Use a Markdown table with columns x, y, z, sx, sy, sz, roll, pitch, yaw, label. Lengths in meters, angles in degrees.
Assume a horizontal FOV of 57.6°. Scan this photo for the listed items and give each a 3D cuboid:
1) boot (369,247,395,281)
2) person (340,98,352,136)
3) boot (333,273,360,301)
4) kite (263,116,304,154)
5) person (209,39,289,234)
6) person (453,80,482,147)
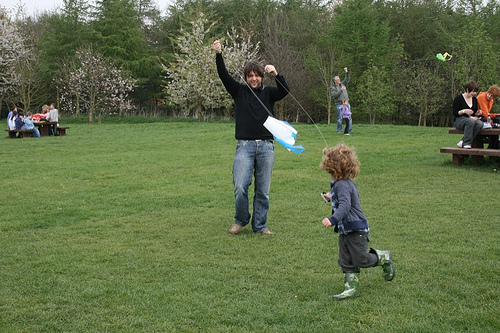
| x | y | z | sx | sy | sz | roll | pitch | yaw | label |
| --- | --- | --- | --- | --- | --- | --- | --- | --- | --- |
| 1.806 | 1.342 | 6.218 | 0.390 | 0.467 | 0.170 | -3 | 8 | -19 | boot |
| 3.457 | -1.835 | 16.535 | 0.371 | 1.313 | 0.778 | 1 | 8 | 11 | person |
| 1.273 | 1.581 | 6.102 | 0.452 | 0.343 | 0.233 | -3 | 2 | -11 | boot |
| 0.560 | -0.483 | 7.535 | 0.673 | 0.488 | 0.224 | 23 | -31 | -2 | kite |
| 0.044 | -0.473 | 7.572 | 1.149 | 3.121 | 0.513 | 0 | 8 | 3 | person |
| 5.381 | -1.301 | 11.206 | 0.600 | 1.610 | 0.752 | 0 | 8 | 4 | person |
